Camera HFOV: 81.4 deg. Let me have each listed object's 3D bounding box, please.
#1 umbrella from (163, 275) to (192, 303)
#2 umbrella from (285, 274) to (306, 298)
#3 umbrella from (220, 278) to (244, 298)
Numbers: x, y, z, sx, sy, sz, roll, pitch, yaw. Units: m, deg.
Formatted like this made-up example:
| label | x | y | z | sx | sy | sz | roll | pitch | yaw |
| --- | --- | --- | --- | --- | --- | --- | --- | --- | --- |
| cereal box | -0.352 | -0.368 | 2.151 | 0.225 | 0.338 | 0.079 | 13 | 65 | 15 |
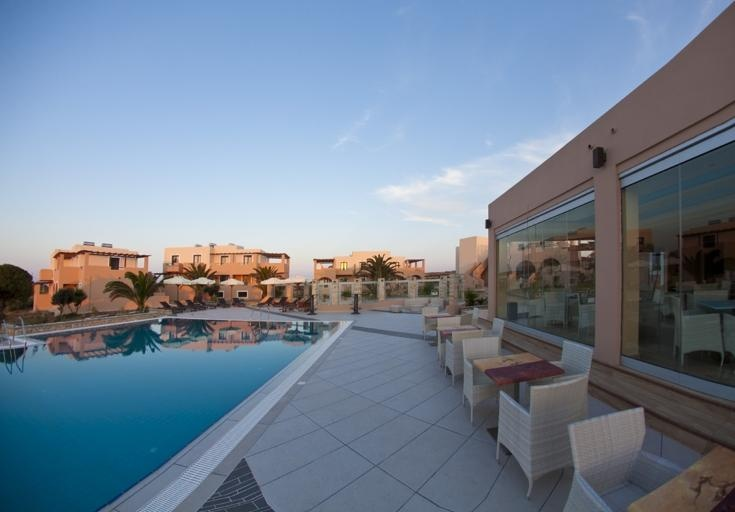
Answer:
| label | x | y | z | sx | sy | sz | roll | pitch | yaw |
| --- | --- | --- | --- | --- | --- | --- | --- | --- | --- |
| umbrella | -14.473 | 2.629 | 32.846 | 2.123 | 2.181 | 2.088 | -6 | 9 | -44 |
| umbrella | -5.128 | 2.134 | 29.537 | 1.795 | 1.762 | 1.679 | 0 | 6 | -3 |
| umbrella | -11.476 | 2.844 | 36.590 | 1.847 | 1.526 | 1.655 | -5 | 11 | -38 |
